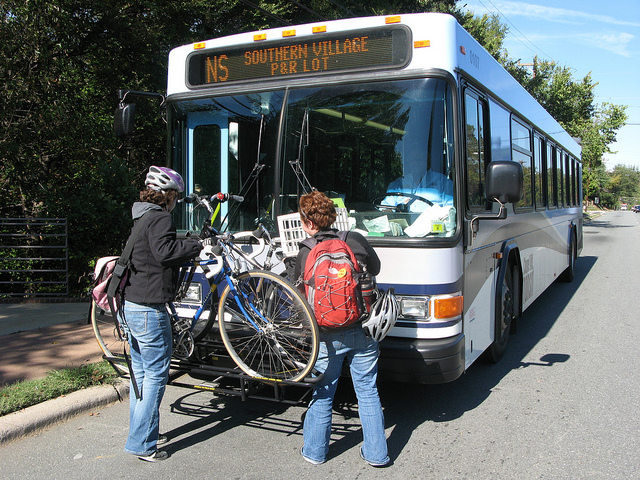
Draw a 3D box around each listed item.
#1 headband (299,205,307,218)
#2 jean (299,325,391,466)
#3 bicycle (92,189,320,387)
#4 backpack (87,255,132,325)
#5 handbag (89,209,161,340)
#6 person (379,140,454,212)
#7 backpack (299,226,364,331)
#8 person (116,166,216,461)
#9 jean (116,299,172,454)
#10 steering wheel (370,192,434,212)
[{"bbox_3d":[-0.145,-0.266,4.725,0.081,0.021,0.080,22,-18,44],"label":"headband"},{"bbox_3d":[0.225,1.369,4.944,0.771,0.490,1.947,-1,33,2],"label":"jean"},{"bbox_3d":[-1.177,0.633,5.579,0.966,1.640,2.285,1,-8,-33],"label":"bicycle"},{"bbox_3d":[-1.974,0.418,5.064,0.310,0.463,0.458,8,-23,-18],"label":"backpack"},{"bbox_3d":[-1.908,0.454,5.315,0.522,0.803,0.780,-15,-34,42],"label":"handbag"},{"bbox_3d":[1.040,-0.617,5.523,0.791,0.792,0.460,2,-4,24],"label":"person"},{"bbox_3d":[0.131,0.364,4.565,0.497,0.840,0.466,-14,17,-17],"label":"backpack"},{"bbox_3d":[-1.514,0.693,4.889,0.694,2.748,0.588,-2,7,-25],"label":"person"},{"bbox_3d":[-1.621,1.244,4.863,0.460,1.403,0.316,1,6,2],"label":"jean"},{"bbox_3d":[0.856,-0.411,5.617,0.777,0.205,0.100,7,9,42],"label":"steering wheel"}]
